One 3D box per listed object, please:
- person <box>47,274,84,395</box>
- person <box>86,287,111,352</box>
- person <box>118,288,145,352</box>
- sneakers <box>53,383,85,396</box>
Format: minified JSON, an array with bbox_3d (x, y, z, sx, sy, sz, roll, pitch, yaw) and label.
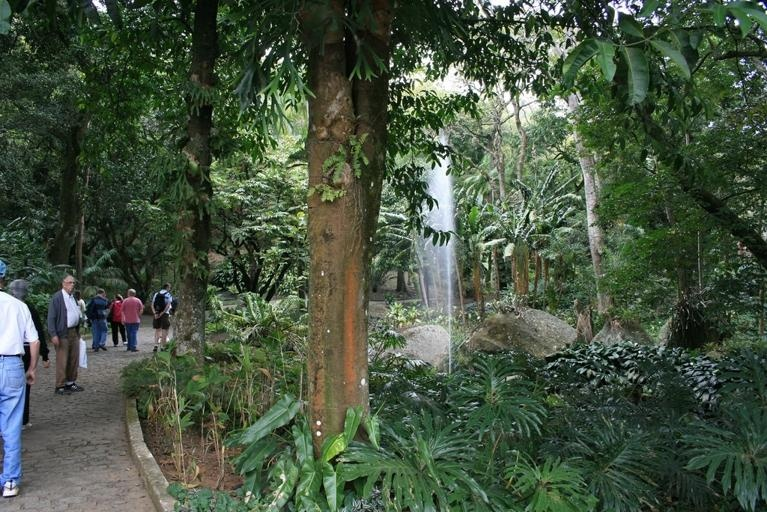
[{"bbox_3d":[-5.374,1.326,9.960,0.515,2.011,1.238,4,-4,-22],"label":"person"},{"bbox_3d":[-7.372,1.632,15.099,0.511,1.601,1.763,4,-5,-26],"label":"person"},{"bbox_3d":[-6.534,1.670,15.165,0.464,1.590,1.452,4,-5,-23],"label":"person"},{"bbox_3d":[-5.473,2.306,10.219,0.165,0.225,0.516,-1,-16,9],"label":"sneakers"}]
